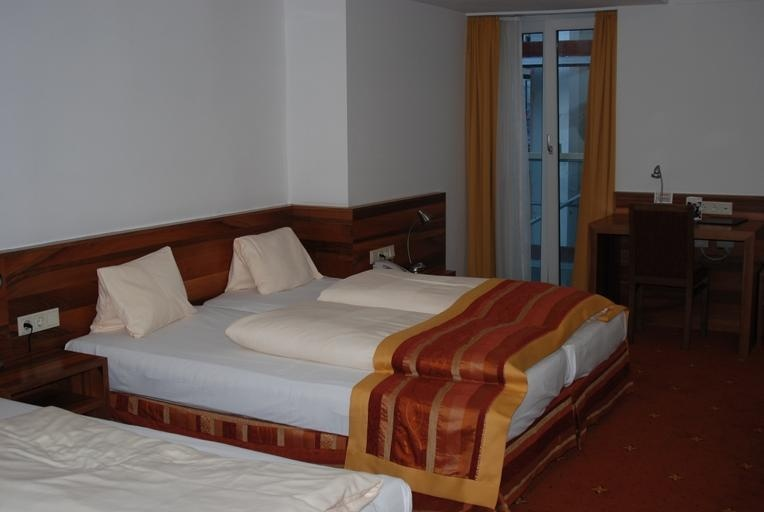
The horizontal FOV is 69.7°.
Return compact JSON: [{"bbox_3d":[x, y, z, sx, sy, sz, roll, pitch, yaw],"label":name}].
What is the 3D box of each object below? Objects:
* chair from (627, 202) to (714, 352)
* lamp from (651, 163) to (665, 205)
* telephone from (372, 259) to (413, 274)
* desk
[{"bbox_3d":[2.548,0.142,4.849,0.598,1.261,0.718,9,17,36],"label":"chair"},{"bbox_3d":[2.722,-0.710,5.412,0.142,0.362,0.355,5,15,24],"label":"lamp"},{"bbox_3d":[0.101,0.100,4.686,0.429,0.131,0.113,4,20,31],"label":"telephone"},{"bbox_3d":[2.731,0.025,5.146,1.604,1.308,1.185,3,6,32],"label":"desk"}]
